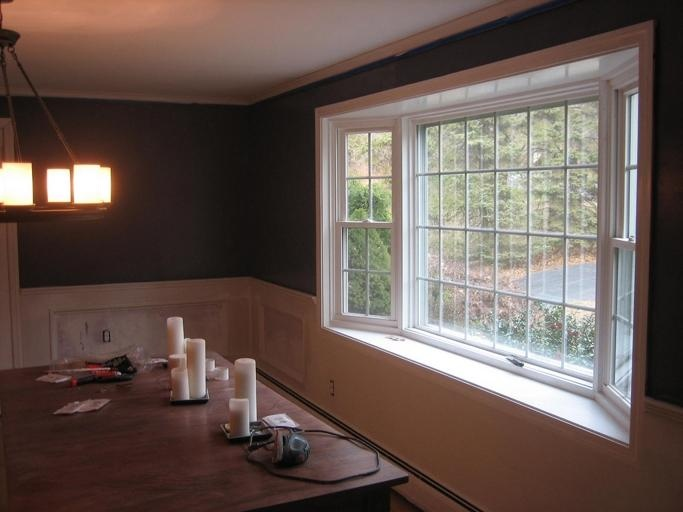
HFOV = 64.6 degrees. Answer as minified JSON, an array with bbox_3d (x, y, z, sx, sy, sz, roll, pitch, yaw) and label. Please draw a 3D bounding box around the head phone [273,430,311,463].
[{"bbox_3d":[-0.210,0.819,2.321,0.153,0.112,0.147,0,13,-2],"label":"head phone"}]
